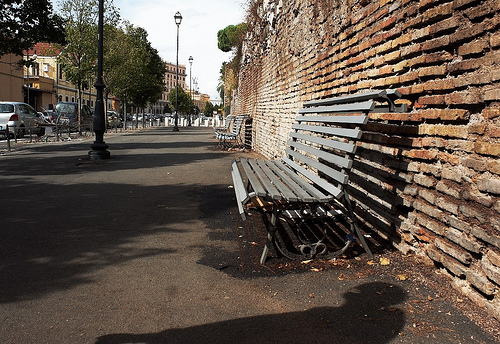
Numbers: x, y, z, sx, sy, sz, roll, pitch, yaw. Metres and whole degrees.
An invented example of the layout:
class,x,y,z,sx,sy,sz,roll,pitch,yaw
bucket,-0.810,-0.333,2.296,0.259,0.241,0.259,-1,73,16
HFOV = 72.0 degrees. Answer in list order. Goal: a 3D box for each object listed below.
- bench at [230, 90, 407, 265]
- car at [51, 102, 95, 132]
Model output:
class,x,y,z,sx,sy,sz,roll,pitch,yaw
bench,0.802,-0.110,4.712,1.839,1.877,2.594,0,10,1
car,-14.802,-4.703,28.363,2.543,1.910,4.064,4,14,0
